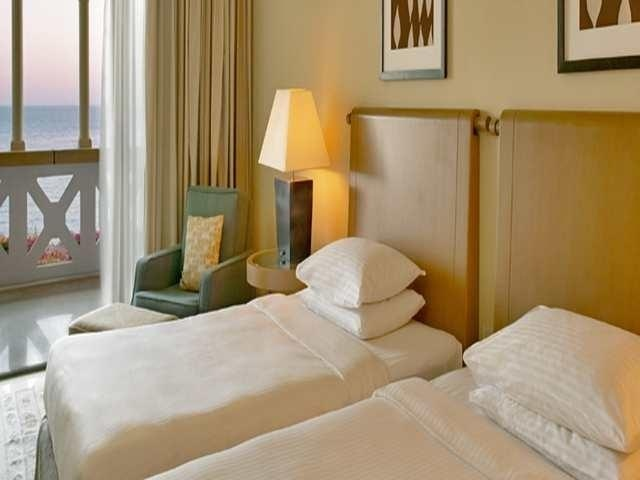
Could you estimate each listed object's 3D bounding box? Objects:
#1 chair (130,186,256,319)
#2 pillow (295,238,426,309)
[{"bbox_3d":[-0.949,0.025,4.244,0.825,1.418,0.936,3,3,26],"label":"chair"},{"bbox_3d":[0.181,0.173,3.149,0.422,0.262,0.478,-15,12,-31],"label":"pillow"}]
